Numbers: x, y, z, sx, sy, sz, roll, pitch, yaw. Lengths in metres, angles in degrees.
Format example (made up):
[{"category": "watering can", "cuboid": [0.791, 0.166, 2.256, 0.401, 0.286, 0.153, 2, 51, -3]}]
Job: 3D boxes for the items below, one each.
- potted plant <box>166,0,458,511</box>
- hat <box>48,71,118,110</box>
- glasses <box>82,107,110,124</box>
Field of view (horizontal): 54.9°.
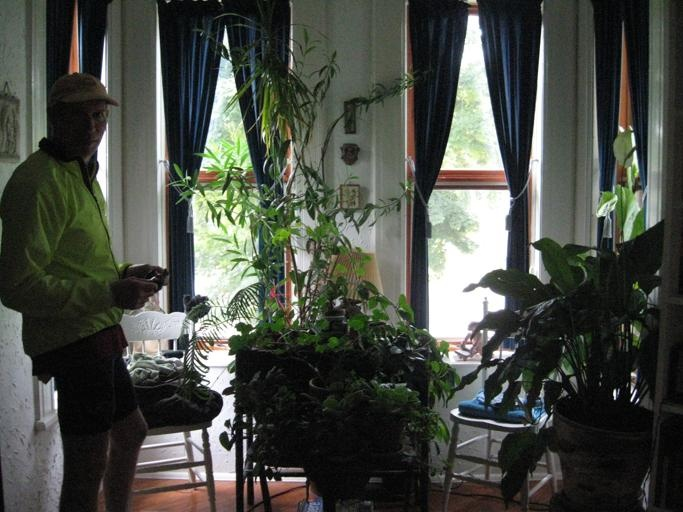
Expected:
[{"category": "potted plant", "cuboid": [-0.162, -0.118, 3.333, 1.215, 2.756, 1.676, 1, -1, -15]}, {"category": "hat", "cuboid": [-1.120, -0.665, 2.781, 0.204, 0.124, 0.170, -6, 10, 15]}, {"category": "glasses", "cuboid": [-1.045, -0.597, 2.799, 0.053, 0.042, 0.073, 9, -12, -13]}]
